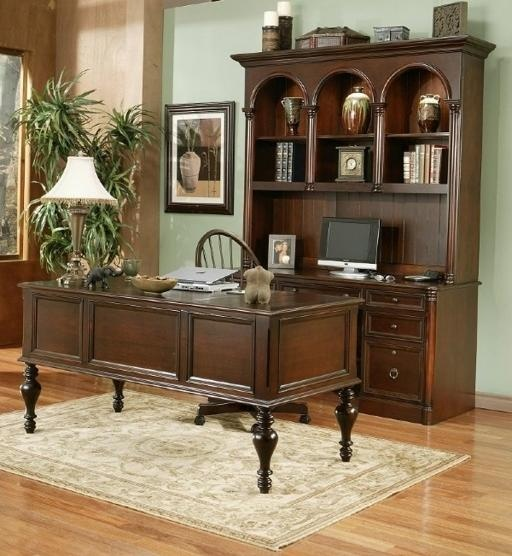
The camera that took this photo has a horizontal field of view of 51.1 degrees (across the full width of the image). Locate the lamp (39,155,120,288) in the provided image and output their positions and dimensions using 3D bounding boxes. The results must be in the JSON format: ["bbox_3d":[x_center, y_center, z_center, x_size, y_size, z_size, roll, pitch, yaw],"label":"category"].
[{"bbox_3d":[-1.074,-0.321,3.217,0.518,0.700,0.483,4,1,-14],"label":"lamp"}]

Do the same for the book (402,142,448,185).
[{"bbox_3d":[1.159,-0.729,3.707,0.277,0.333,0.371,5,9,33],"label":"book"}]

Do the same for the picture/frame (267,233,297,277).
[{"bbox_3d":[0.210,-0.208,4.372,0.225,0.274,0.016,4,5,26],"label":"picture/frame"}]

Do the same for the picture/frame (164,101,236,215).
[{"bbox_3d":[-0.558,-1.137,5.156,0.856,1.083,0.147,0,-4,31],"label":"picture/frame"}]

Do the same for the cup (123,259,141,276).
[{"bbox_3d":[-0.713,-0.054,3.034,0.091,0.070,0.092,-1,0,0],"label":"cup"}]

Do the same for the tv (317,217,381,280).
[{"bbox_3d":[0.706,-0.218,3.993,0.496,0.409,0.192,4,2,38],"label":"tv"}]

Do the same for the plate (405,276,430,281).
[{"bbox_3d":[1.101,0.007,3.655,0.162,0.032,0.101,1,-3,16],"label":"plate"}]

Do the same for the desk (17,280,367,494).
[{"bbox_3d":[-0.397,0.509,2.840,1.703,0.770,0.791,2,0,34],"label":"desk"}]
